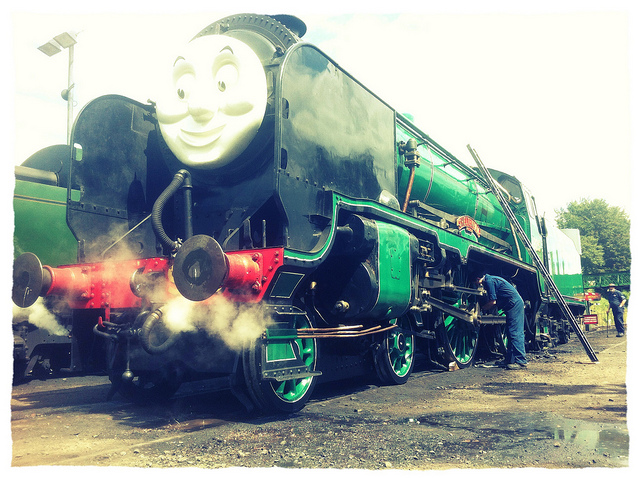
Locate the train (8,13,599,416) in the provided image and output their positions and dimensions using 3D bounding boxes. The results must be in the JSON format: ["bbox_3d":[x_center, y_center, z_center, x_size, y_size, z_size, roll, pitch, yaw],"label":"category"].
[{"bbox_3d":[1.496,0.384,10.823,4.135,4.875,12.776,-8,-11,31],"label":"train"}]

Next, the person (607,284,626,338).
[{"bbox_3d":[10.228,2.502,19.420,0.481,1.678,2.247,-6,-12,28],"label":"person"}]
